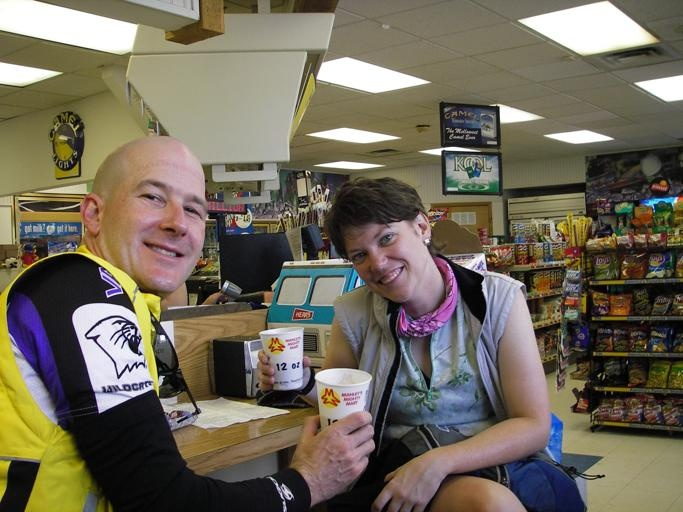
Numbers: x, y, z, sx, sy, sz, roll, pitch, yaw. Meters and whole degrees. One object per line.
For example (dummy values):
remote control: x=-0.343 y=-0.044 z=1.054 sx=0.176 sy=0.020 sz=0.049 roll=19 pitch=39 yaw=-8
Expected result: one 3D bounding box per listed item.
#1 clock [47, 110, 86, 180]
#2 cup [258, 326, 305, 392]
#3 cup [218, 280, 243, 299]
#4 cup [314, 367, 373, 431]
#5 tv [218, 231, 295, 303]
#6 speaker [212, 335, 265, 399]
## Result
clock: x=-3.013 y=-1.207 z=5.488 sx=0.769 sy=1.029 sz=0.103 roll=-5 pitch=-10 yaw=37
cup: x=-0.191 y=0.346 z=1.733 sx=0.196 sy=0.239 sz=0.198 roll=-3 pitch=-6 yaw=0
cup: x=-0.690 y=0.211 z=3.127 sx=0.081 sy=0.078 sz=0.089 roll=28 pitch=23 yaw=-13
cup: x=0.002 y=0.380 z=1.362 sx=0.152 sy=0.175 sz=0.161 roll=0 pitch=-3 yaw=0
tv: x=-0.586 y=0.020 z=3.892 sx=0.718 sy=0.703 sz=0.382 roll=-2 pitch=1 yaw=-3
speaker: x=-0.466 y=0.478 z=2.347 sx=0.232 sy=0.267 sz=0.344 roll=-2 pitch=0 yaw=8
